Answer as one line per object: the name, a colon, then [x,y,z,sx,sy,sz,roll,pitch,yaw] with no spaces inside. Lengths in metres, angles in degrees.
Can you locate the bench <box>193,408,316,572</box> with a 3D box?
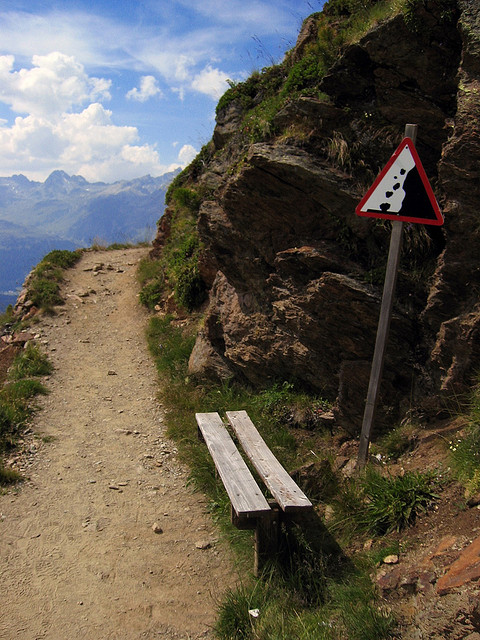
bench: [0.155,1.863,6.128,0.626,0.538,2.346,-3,5,-9]
